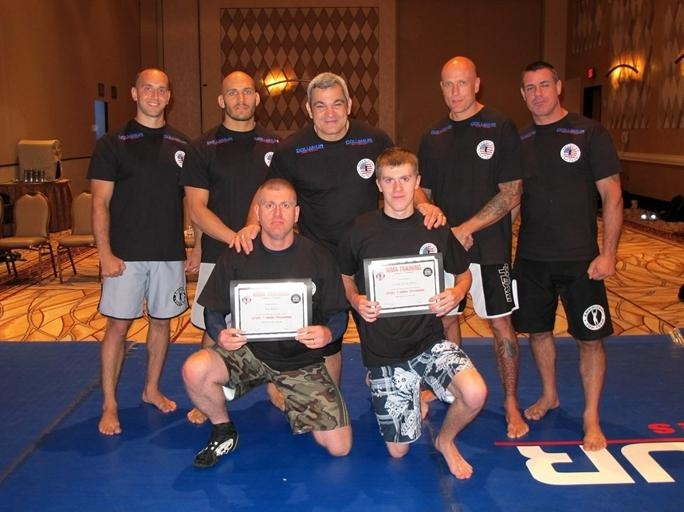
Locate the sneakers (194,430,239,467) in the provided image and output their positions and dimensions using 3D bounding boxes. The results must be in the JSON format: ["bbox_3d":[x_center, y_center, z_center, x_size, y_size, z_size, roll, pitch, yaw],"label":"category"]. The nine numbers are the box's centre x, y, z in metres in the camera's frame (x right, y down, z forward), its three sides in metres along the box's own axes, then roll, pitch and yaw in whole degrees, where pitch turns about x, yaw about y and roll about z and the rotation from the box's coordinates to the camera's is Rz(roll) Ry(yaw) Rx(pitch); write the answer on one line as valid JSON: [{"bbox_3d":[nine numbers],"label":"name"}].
[{"bbox_3d":[-0.701,1.068,3.332,0.103,0.143,0.306,7,12,31],"label":"sneakers"}]

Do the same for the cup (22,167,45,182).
[{"bbox_3d":[-4.615,-1.217,8.652,0.213,0.146,0.225,0,6,0],"label":"cup"}]

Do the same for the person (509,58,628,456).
[{"bbox_3d":[1.334,-0.065,3.490,0.632,2.157,0.656,5,14,21],"label":"person"}]

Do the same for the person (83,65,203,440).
[{"bbox_3d":[-1.262,0.084,3.652,0.725,1.830,0.456,-8,15,-32],"label":"person"}]

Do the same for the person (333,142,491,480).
[{"bbox_3d":[0.392,0.272,3.228,0.854,1.696,0.525,4,13,16],"label":"person"}]
